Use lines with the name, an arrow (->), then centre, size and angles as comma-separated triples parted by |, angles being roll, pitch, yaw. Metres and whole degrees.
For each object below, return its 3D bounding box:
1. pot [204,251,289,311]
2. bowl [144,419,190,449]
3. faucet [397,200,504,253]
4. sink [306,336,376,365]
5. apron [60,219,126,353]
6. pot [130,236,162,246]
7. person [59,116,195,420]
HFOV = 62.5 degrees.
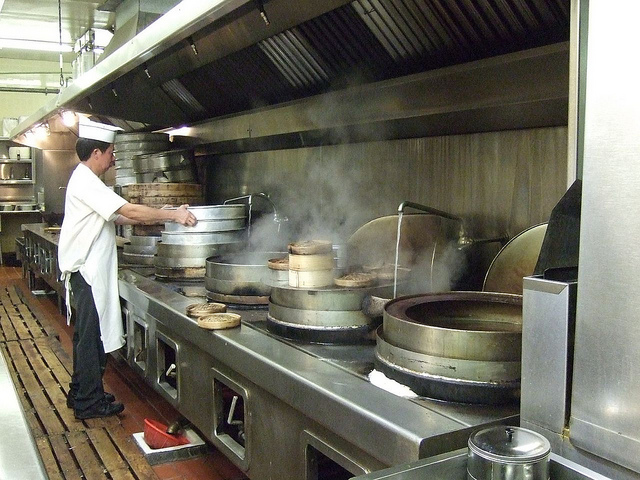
pot -> -0.425, 0.196, 2.992 | 0.467, 0.200, 0.483 | 2, 6, 0
bowl -> -0.831, 1.058, 2.873 | 0.236, 0.154, 0.134 | 9, -1, -27
faucet -> 0.633, -0.061, 2.463 | 0.524, 0.226, 0.139 | 1, 8, -12
sink -> 0.088, 0.418, 2.081 | 0.266, 0.101, 0.278 | 9, -1, 2
apron -> -1.352, 0.270, 3.227 | 0.323, 0.826, 0.374 | -3, 12, -34
pot -> -1.359, 0.004, 4.079 | 0.356, 0.082, 0.078 | 9, 0, 38
person -> -1.293, 0.175, 3.272 | 0.613, 1.885, 0.497 | 8, -1, -26
